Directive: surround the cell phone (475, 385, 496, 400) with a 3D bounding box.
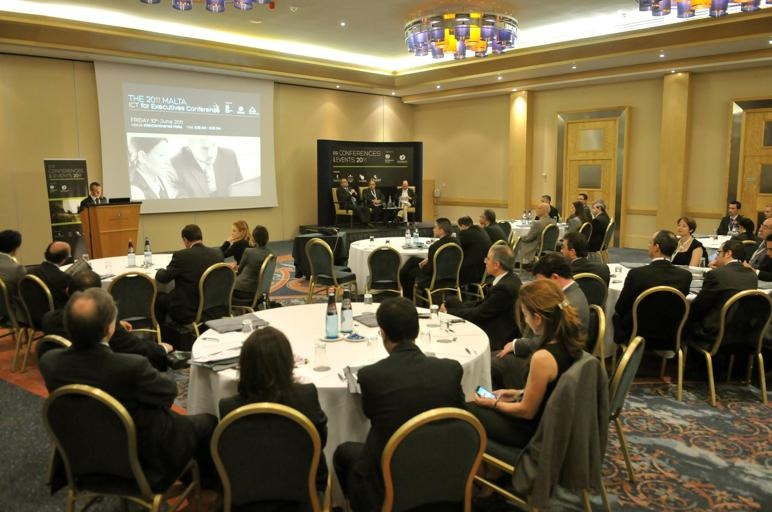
[{"bbox_3d":[0.752,1.044,4.149,0.135,0.033,0.075,23,33,31],"label":"cell phone"}]

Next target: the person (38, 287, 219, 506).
[{"bbox_3d":[-1.792,0.905,3.784,0.986,1.351,0.384,0,9,3],"label":"person"}]

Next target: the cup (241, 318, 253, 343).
[{"bbox_3d":[-1.134,0.610,4.455,0.118,0.161,0.060,-3,-31,-1],"label":"cup"}]

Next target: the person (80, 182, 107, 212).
[{"bbox_3d":[-5.219,-1.046,9.705,0.446,0.503,1.022,-5,9,-29],"label":"person"}]

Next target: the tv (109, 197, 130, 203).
[{"bbox_3d":[-4.671,-0.963,9.572,0.338,0.079,0.161,-5,9,-33],"label":"tv"}]

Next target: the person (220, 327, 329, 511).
[{"bbox_3d":[-0.735,1.068,3.562,0.686,1.198,0.230,-1,9,-5],"label":"person"}]

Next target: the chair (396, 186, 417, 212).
[{"bbox_3d":[0.617,-1.578,14.850,0.577,0.816,0.660,0,1,5],"label":"chair"}]

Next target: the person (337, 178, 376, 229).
[{"bbox_3d":[-0.568,-1.358,14.257,0.748,1.330,0.797,4,-10,-16],"label":"person"}]

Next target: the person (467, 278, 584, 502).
[{"bbox_3d":[0.878,1.064,4.247,1.153,1.753,0.725,7,14,19],"label":"person"}]

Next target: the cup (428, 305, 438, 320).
[{"bbox_3d":[0.451,0.527,5.152,0.089,0.138,0.120,0,-2,-2],"label":"cup"}]
